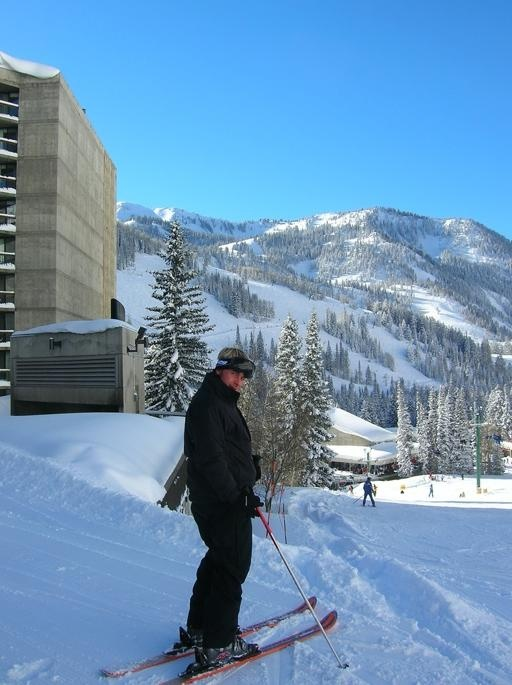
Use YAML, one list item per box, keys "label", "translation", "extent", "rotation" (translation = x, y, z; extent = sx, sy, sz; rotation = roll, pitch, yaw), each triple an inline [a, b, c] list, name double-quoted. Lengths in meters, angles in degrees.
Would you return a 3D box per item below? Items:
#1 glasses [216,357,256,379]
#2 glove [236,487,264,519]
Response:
- label: "glasses"
  translation: [-0.146, 0.195, 5.956]
  extent: [0.200, 0.155, 0.174]
  rotation: [-1, -1, 18]
- label: "glove"
  translation: [-0.033, 1.224, 5.647]
  extent: [0.054, 0.214, 0.145]
  rotation: [-21, 13, 42]
